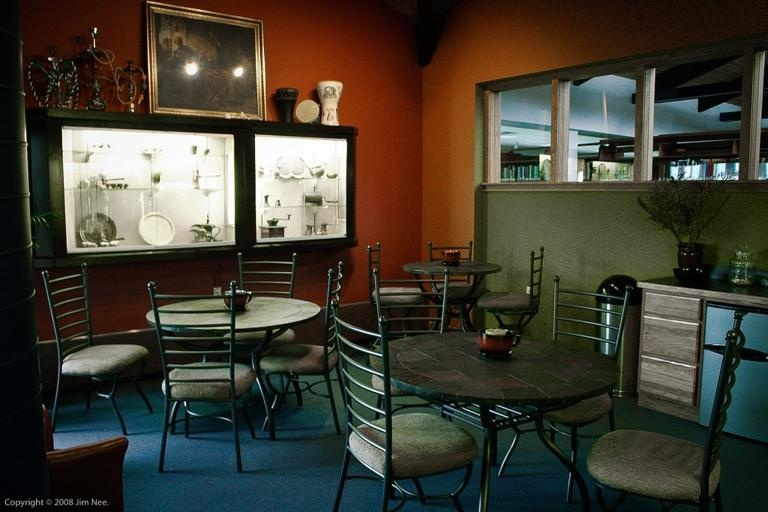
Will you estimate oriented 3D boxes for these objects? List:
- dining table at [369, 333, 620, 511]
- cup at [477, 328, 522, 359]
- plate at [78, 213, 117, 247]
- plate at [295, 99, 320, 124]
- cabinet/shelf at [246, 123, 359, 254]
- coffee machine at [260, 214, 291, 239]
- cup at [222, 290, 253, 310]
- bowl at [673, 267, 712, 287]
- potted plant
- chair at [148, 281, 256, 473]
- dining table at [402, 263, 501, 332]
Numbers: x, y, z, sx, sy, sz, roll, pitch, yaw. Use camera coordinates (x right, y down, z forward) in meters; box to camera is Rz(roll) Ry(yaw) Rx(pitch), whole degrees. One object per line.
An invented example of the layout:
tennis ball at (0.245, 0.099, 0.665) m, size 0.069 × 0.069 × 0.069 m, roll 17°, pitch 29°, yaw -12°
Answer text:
dining table at (0.619, 0.664, 3.465) m, size 1.144 × 0.703 × 1.210 m, roll 2°, pitch 6°, yaw 33°
cup at (0.685, 0.528, 3.677) m, size 0.209 × 0.109 × 0.163 m, roll 1°, pitch 0°, yaw 2°
plate at (-2.462, -0.223, 5.311) m, size 0.283 × 0.291 × 0.062 m, roll -5°, pitch 9°, yaw -23°
plate at (-0.771, -1.458, 6.223) m, size 0.269 × 0.230 × 0.166 m, roll -4°, pitch 9°, yaw -15°
cabinet/shelf at (-0.849, -0.690, 6.121) m, size 1.281 × 1.162 × 0.423 m, roll -6°, pitch 11°, yaw -34°
coffee machine at (-1.061, -0.284, 6.091) m, size 0.255 × 0.248 × 0.167 m, roll 4°, pitch 5°, yaw 31°
cup at (-1.102, 0.332, 4.590) m, size 0.239 × 0.151 × 0.192 m, roll 2°, pitch -1°, yaw -27°
bowl at (2.469, 0.148, 4.963) m, size 0.254 × 0.130 × 0.395 m, roll 3°, pitch 10°, yaw 28°
potted plant at (2.480, -0.286, 5.309) m, size 0.709 × 0.730 × 0.738 m, roll -1°, pitch 0°, yaw -21°
chair at (-1.402, 0.727, 4.756) m, size 0.717 × 1.307 × 1.584 m, roll -4°, pitch 9°, yaw -17°
dining table at (0.647, 0.267, 6.043) m, size 0.801 × 0.549 × 0.810 m, roll 4°, pitch 9°, yaw 27°
